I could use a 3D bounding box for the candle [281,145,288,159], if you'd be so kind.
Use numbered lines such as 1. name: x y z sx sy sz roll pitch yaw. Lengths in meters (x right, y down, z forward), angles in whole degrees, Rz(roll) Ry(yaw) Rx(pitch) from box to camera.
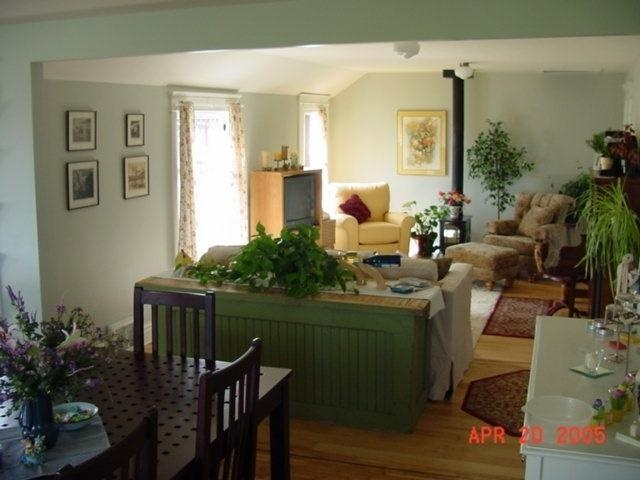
1. candle: -0.562 -1.358 7.849 0.097 0.201 0.150 -1 11 -4

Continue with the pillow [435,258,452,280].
1. pillow: 1.047 0.251 4.264 0.077 0.189 0.162 11 10 43

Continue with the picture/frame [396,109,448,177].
1. picture/frame: 1.895 -1.785 9.261 0.910 1.161 0.207 1 11 9

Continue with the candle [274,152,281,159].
1. candle: -0.653 -1.300 7.759 0.102 0.106 0.113 6 14 13

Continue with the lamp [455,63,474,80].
1. lamp: 2.184 -2.567 7.663 0.290 0.164 0.297 0 0 -3

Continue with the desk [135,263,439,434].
1. desk: -0.272 0.837 4.083 2.106 0.993 0.750 3 6 18

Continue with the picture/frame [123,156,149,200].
1. picture/frame: -2.020 -0.678 5.448 0.020 0.447 0.440 6 13 22

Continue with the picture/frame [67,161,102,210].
1. picture/frame: -2.291 -0.527 4.818 0.034 0.434 0.428 8 15 23

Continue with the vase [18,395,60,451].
1. vase: -1.092 0.705 1.950 0.138 0.186 0.127 -2 8 -28

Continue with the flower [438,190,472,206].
1. flower: 2.257 -0.674 8.326 0.416 0.294 0.389 0 4 7

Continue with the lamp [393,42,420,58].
1. lamp: 0.851 -1.839 4.834 0.300 0.082 0.217 -2 2 -42

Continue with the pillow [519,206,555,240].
1. pillow: 3.223 -0.294 7.493 0.151 0.495 0.493 25 2 -19

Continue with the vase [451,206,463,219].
1. vase: 2.347 -0.454 8.333 0.250 0.242 0.160 -3 3 -41

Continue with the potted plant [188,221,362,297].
1. potted plant: -0.377 0.182 3.778 0.951 0.418 0.595 -2 7 5

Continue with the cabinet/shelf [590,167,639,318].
1. cabinet/shelf: 2.421 0.128 4.178 0.343 1.296 0.914 5 12 28

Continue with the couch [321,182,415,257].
1. couch: 0.753 -0.309 8.531 1.286 1.269 1.163 -1 3 -18

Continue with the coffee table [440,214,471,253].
1. coffee table: 2.172 -0.091 8.056 0.450 0.726 0.456 11 20 40

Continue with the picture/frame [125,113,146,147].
1. picture/frame: -2.005 -1.184 5.389 0.027 0.375 0.369 2 6 22
